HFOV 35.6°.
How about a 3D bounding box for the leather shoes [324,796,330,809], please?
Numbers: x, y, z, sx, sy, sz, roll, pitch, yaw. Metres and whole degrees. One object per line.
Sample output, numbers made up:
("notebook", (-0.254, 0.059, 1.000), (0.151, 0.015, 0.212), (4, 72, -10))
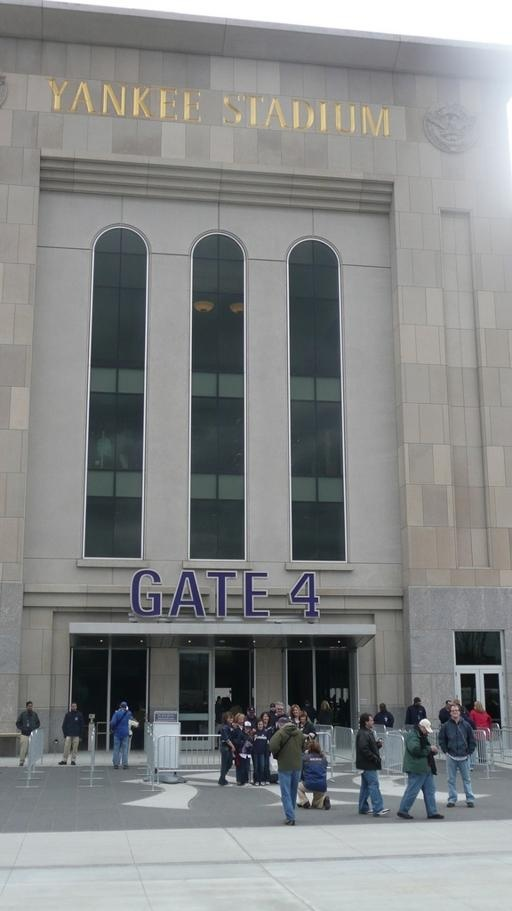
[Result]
("leather shoes", (1.239, 6.082, 13.964), (0.081, 0.270, 0.183), (-1, 12, -1))

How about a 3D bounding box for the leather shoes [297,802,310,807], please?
("leather shoes", (0.847, 6.180, 14.178), (0.243, 0.095, 0.142), (1, -14, -9))

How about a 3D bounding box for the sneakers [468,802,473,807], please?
("sneakers", (3.811, 6.162, 14.159), (0.060, 0.082, 0.191), (-1, -27, 6))
